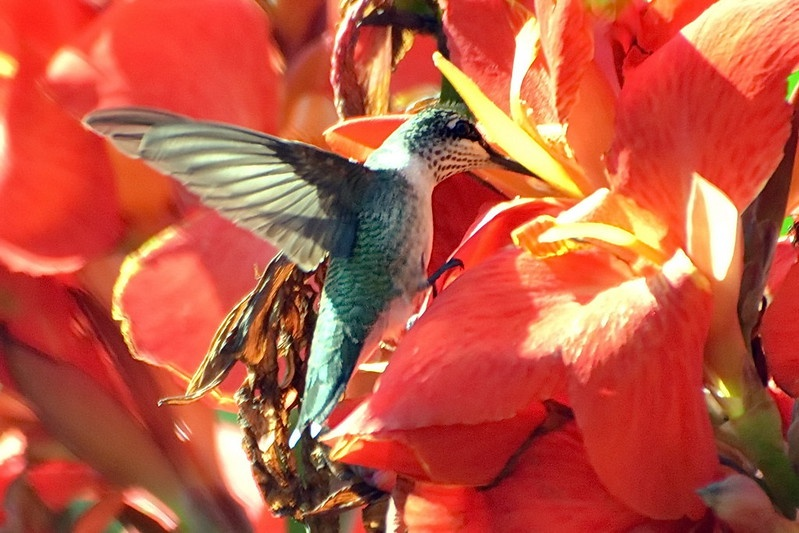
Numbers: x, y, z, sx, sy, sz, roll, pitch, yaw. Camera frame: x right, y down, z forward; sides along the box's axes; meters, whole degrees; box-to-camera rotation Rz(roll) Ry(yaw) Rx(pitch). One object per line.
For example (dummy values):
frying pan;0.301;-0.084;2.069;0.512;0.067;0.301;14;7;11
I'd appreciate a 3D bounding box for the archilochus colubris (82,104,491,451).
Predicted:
archilochus colubris;-0.071;-0.048;0.985;0.278;0.170;0.270;-42;10;-13
